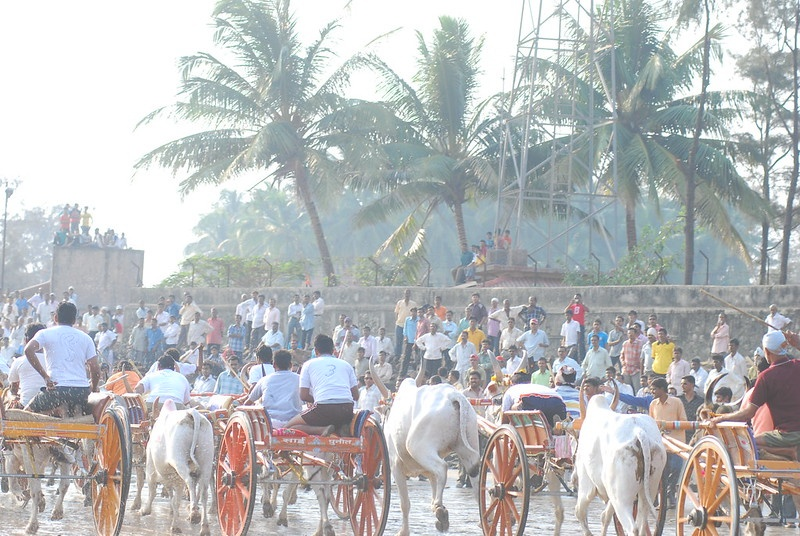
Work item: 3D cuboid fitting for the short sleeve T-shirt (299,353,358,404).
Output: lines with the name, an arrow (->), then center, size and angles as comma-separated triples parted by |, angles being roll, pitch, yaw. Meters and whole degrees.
short sleeve T-shirt -> -1.504, 2.675, 35.615 | 1.304, 1.419, 0.849 | 0, -38, -16

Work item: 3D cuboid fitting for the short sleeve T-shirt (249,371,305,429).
short sleeve T-shirt -> -2.728, 2.775, 36.004 | 1.481, 1.459, 0.949 | 1, 16, -1
